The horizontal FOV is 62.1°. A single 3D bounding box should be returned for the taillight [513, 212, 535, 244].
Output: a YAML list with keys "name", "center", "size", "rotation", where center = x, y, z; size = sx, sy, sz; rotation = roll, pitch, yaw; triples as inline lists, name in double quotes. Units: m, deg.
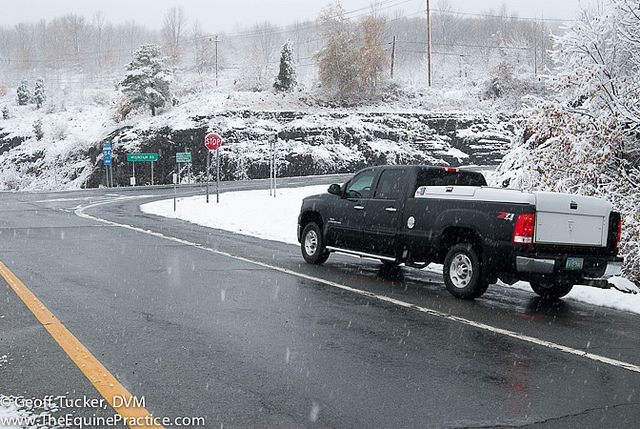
- name: "taillight"
  center: [3.679, 0.232, 9.478]
  size: [0.345, 0.695, 0.325]
  rotation: [11, 16, 34]

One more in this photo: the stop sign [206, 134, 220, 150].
- name: "stop sign"
  center: [-5.562, -3.824, 27.648]
  size: [0.509, 0.725, 0.890]
  rotation: [5, 8, 32]

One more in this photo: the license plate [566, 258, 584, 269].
- name: "license plate"
  center: [4.701, 0.901, 9.724]
  size: [0.452, 0.226, 0.024]
  rotation: [-2, 7, -25]
